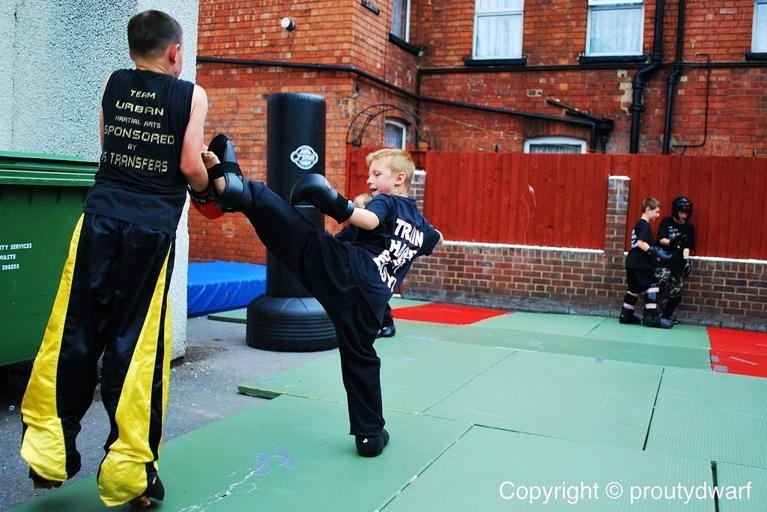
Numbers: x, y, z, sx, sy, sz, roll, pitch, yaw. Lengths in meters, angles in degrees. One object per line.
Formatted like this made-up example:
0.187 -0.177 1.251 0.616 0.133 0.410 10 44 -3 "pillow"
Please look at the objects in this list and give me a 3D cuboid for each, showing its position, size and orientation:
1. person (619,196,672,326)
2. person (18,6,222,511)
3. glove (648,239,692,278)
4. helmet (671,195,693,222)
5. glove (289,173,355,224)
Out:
3.951 0.087 9.852 0.710 1.871 0.544 6 12 24 "person"
-1.745 0.233 4.368 1.266 2.889 0.743 -2 11 -15 "person"
4.258 0.022 9.757 0.679 0.685 0.452 10 2 14 "glove"
4.394 -0.701 9.804 0.286 0.377 0.377 0 8 2 "helmet"
-0.431 -0.419 4.708 0.439 0.328 0.230 0 11 -6 "glove"
